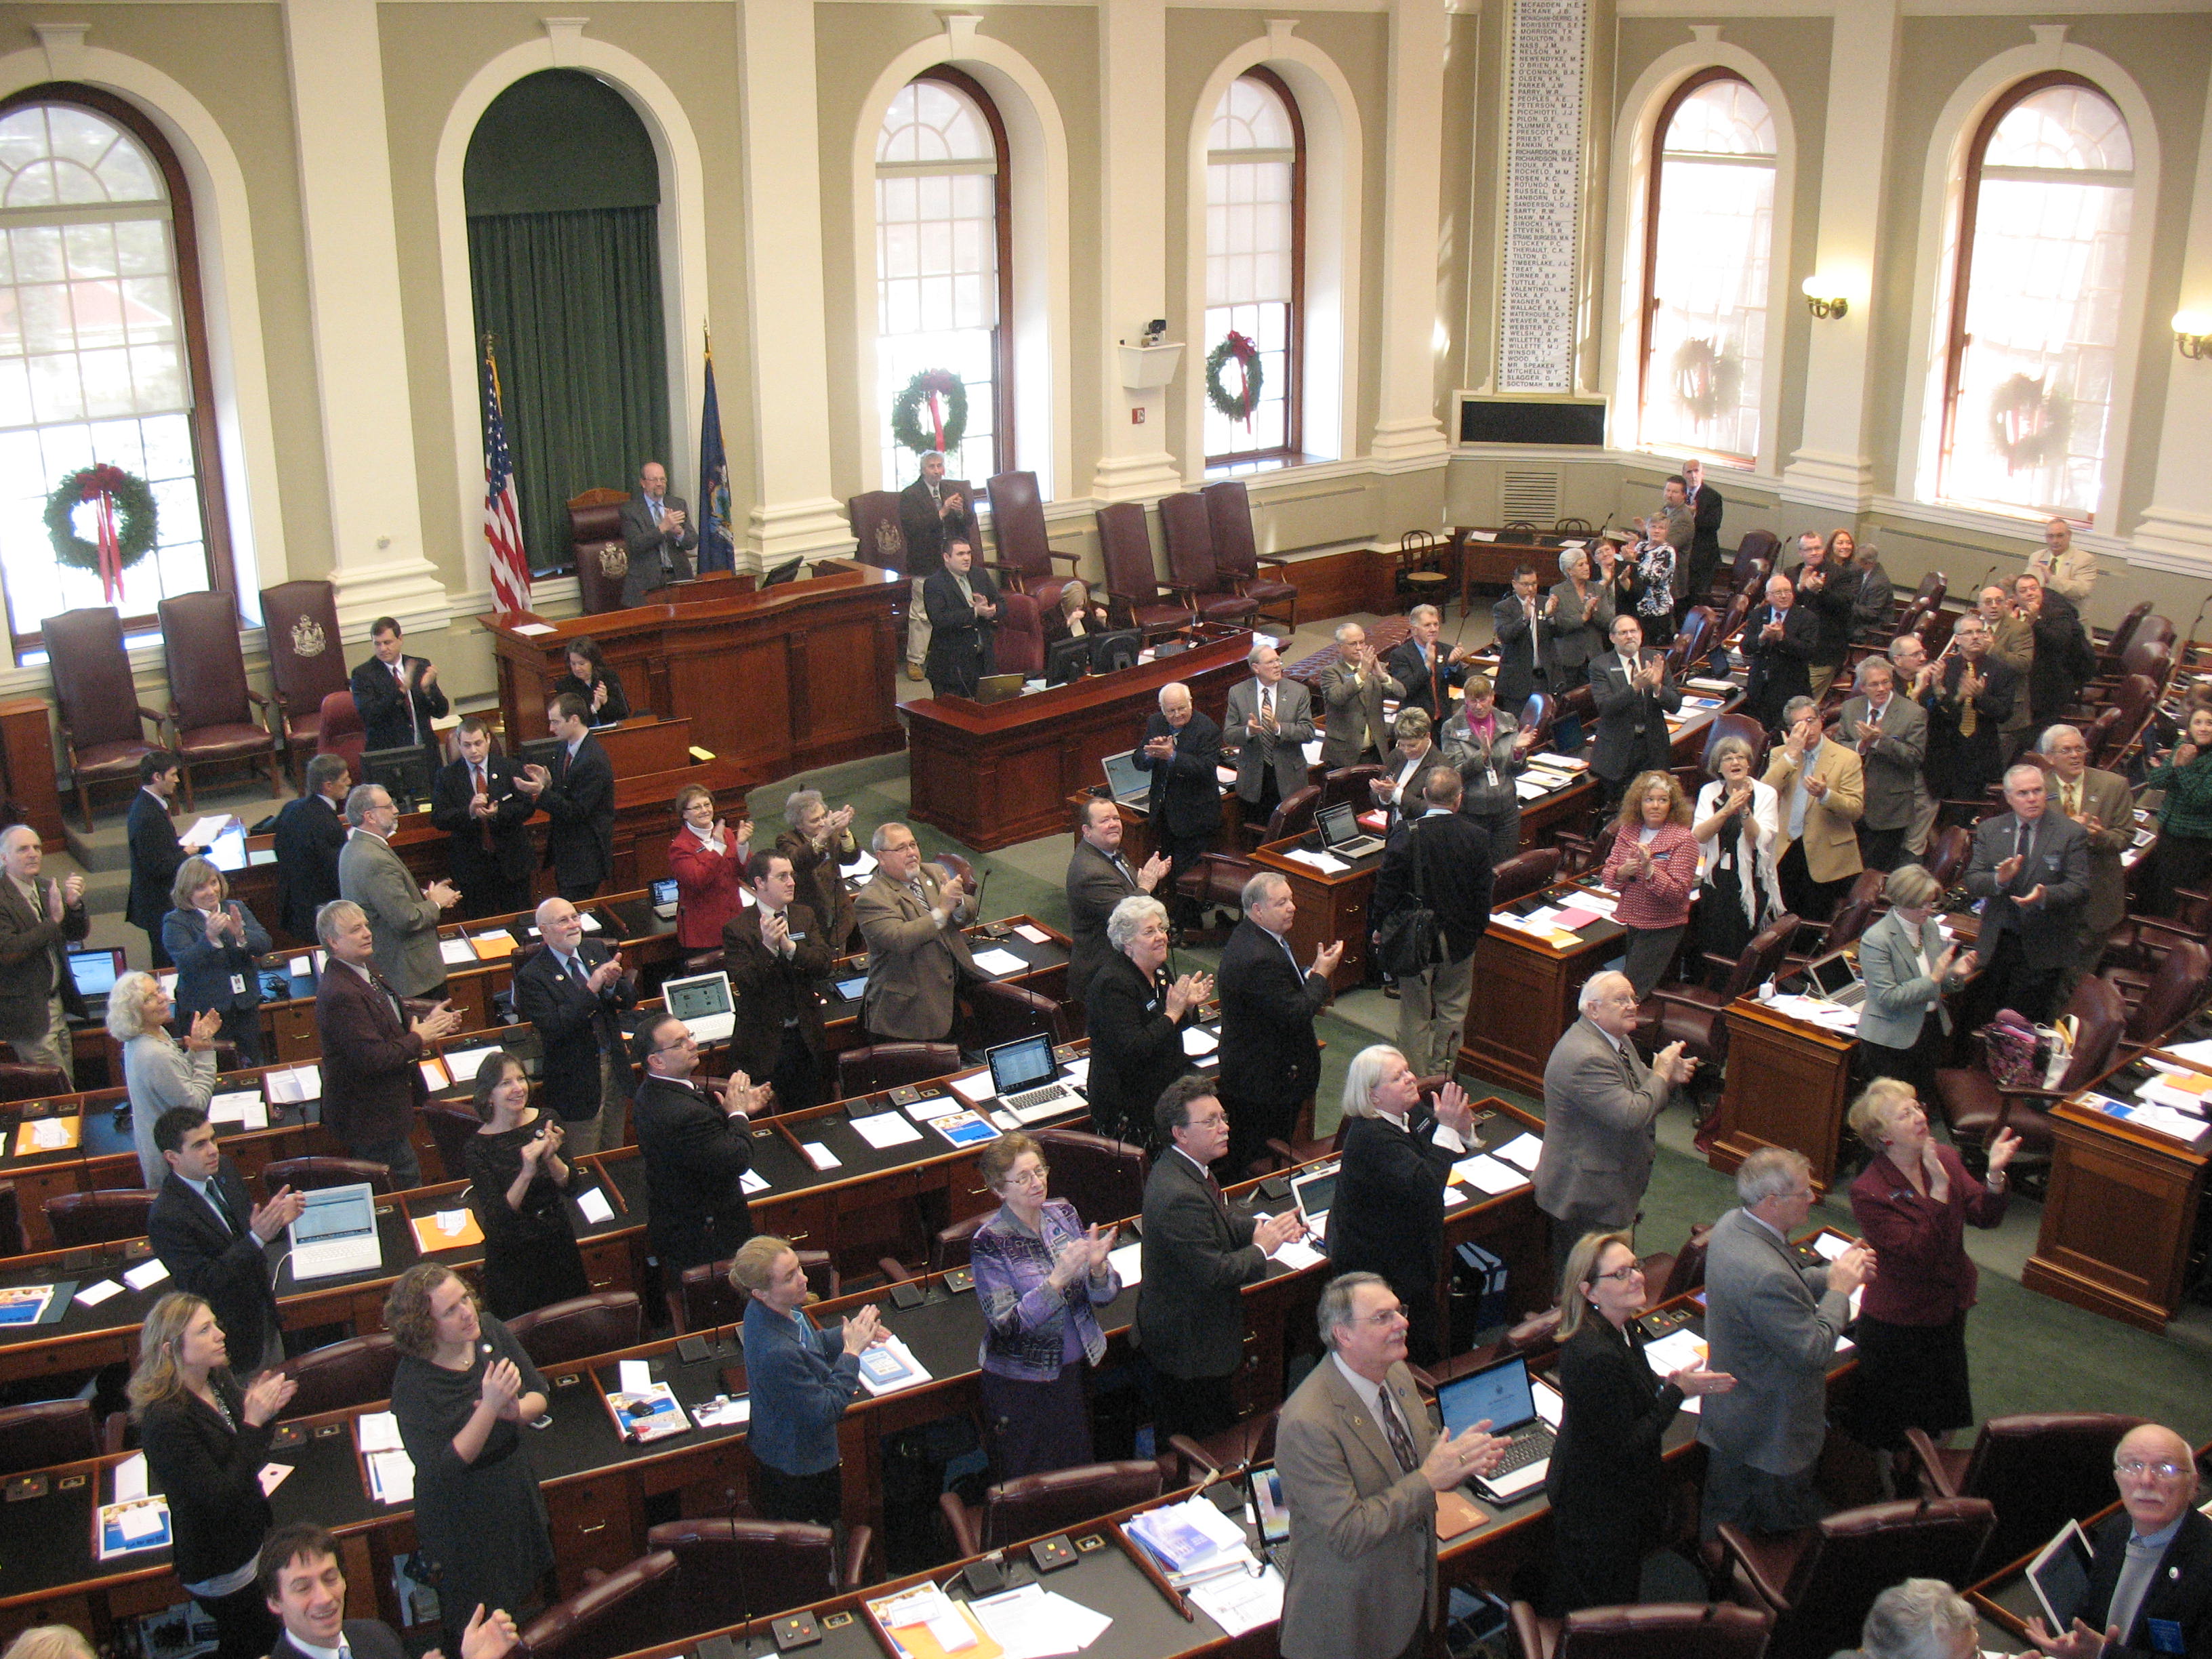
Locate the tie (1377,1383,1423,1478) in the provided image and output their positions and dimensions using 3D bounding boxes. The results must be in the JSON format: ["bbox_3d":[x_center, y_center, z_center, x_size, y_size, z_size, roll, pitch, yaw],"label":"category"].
[{"bbox_3d":[0.846,1.720,4.958,0.096,0.239,0.142,5,16,31],"label":"tie"}]

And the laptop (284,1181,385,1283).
[{"bbox_3d":[-3.130,1.622,6.966,0.417,0.299,0.330,-7,15,-21],"label":"laptop"}]

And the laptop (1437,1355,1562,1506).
[{"bbox_3d":[1.372,1.970,5.751,0.450,0.278,0.356,-11,9,-32],"label":"laptop"}]

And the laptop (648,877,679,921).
[{"bbox_3d":[-2.575,0.396,10.048,0.225,0.183,0.208,-4,19,-13],"label":"laptop"}]

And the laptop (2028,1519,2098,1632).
[{"bbox_3d":[2.855,2.223,5.122,0.069,0.294,0.303,-3,21,44],"label":"laptop"}]

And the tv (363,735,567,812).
[{"bbox_3d":[-4.082,-0.298,11.090,1.380,0.459,0.792,0,-17,-10],"label":"tv"}]

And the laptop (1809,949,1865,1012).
[{"bbox_3d":[3.847,0.768,9.059,0.286,0.218,0.237,-22,15,-22],"label":"laptop"}]

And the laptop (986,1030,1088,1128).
[{"bbox_3d":[-0.340,1.159,8.159,0.371,0.408,0.236,-6,1,-21],"label":"laptop"}]

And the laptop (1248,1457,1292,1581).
[{"bbox_3d":[0.503,2.095,5.406,0.081,0.408,0.349,-4,14,-5],"label":"laptop"}]

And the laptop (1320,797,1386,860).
[{"bbox_3d":[1.579,-0.012,10.977,0.435,0.300,0.329,-19,27,-34],"label":"laptop"}]

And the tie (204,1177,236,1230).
[{"bbox_3d":[-3.333,1.398,6.475,0.138,0.154,0.041,-15,3,-3],"label":"tie"}]

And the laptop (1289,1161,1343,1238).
[{"bbox_3d":[0.848,1.515,6.935,0.165,0.246,0.373,-2,15,5],"label":"laptop"}]

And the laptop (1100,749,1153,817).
[{"bbox_3d":[0.150,-0.343,11.501,0.326,0.296,0.397,27,41,37],"label":"laptop"}]
